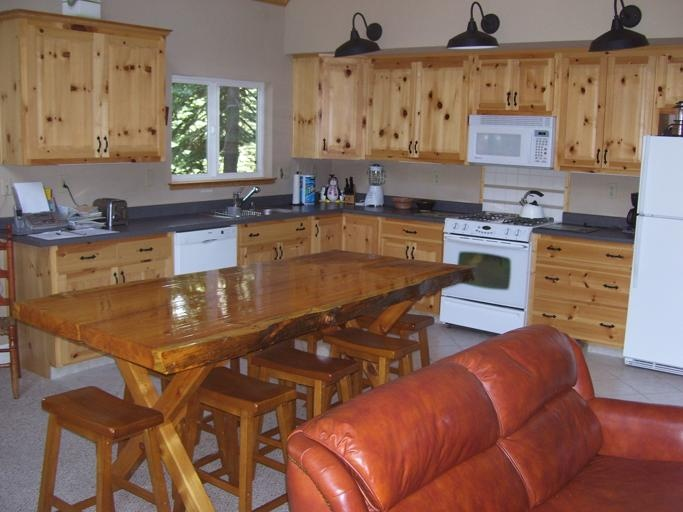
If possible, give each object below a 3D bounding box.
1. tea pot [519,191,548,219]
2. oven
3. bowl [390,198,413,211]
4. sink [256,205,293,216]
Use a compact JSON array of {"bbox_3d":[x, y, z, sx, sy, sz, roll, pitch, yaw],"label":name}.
[{"bbox_3d":[1.959,-0.538,5.653,0.337,0.309,0.270,4,6,35],"label":"tea pot"},{"bbox_3d":[1.647,0.229,5.654,0.807,1.041,1.015,-3,8,-34],"label":"oven"},{"bbox_3d":[0.699,-0.619,6.419,0.175,0.102,0.172,3,12,-1],"label":"bowl"},{"bbox_3d":[-0.735,-0.495,5.977,0.184,0.074,0.214,-3,14,-19],"label":"sink"}]
